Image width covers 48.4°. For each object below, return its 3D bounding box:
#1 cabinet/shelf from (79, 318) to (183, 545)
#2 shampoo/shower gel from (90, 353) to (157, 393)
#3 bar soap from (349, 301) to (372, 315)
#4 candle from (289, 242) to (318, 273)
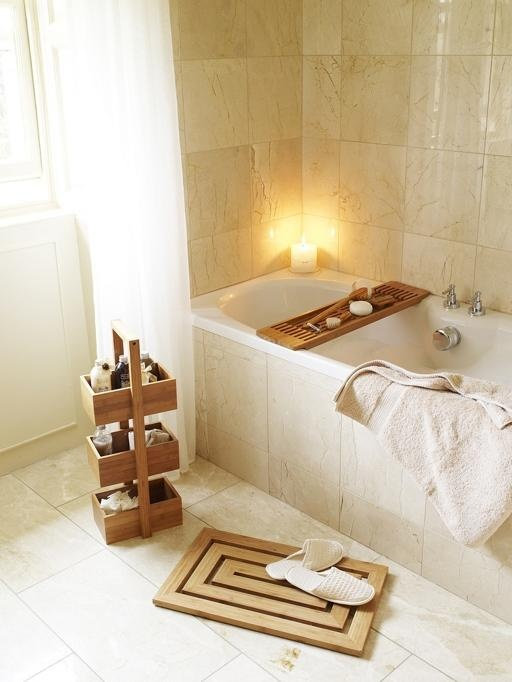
[{"bbox_3d":[-0.388,0.267,1.782,0.304,0.677,0.361,-14,23,-29],"label":"cabinet/shelf"},{"bbox_3d":[-0.389,0.095,1.699,0.211,0.133,0.168,-9,20,-17],"label":"shampoo/shower gel"},{"bbox_3d":[0.385,-0.120,2.078,0.088,0.049,0.077,-1,19,4],"label":"bar soap"},{"bbox_3d":[0.200,-0.373,2.578,0.129,0.145,0.132,-1,23,0],"label":"candle"}]
